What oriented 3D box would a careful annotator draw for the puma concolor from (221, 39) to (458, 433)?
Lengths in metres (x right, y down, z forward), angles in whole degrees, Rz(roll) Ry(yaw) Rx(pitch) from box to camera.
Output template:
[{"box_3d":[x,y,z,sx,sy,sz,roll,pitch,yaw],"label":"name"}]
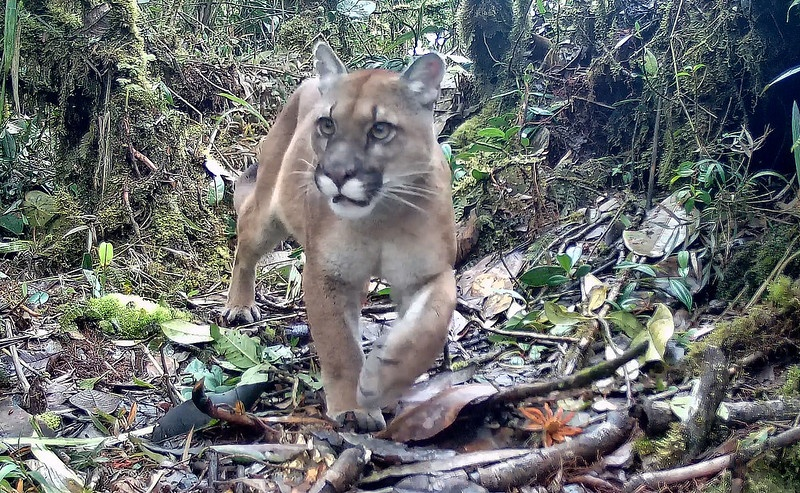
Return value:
[{"box_3d":[-0.361,-0.169,4.274,0.921,2.064,1.569,-21,31,-35],"label":"puma concolor"}]
